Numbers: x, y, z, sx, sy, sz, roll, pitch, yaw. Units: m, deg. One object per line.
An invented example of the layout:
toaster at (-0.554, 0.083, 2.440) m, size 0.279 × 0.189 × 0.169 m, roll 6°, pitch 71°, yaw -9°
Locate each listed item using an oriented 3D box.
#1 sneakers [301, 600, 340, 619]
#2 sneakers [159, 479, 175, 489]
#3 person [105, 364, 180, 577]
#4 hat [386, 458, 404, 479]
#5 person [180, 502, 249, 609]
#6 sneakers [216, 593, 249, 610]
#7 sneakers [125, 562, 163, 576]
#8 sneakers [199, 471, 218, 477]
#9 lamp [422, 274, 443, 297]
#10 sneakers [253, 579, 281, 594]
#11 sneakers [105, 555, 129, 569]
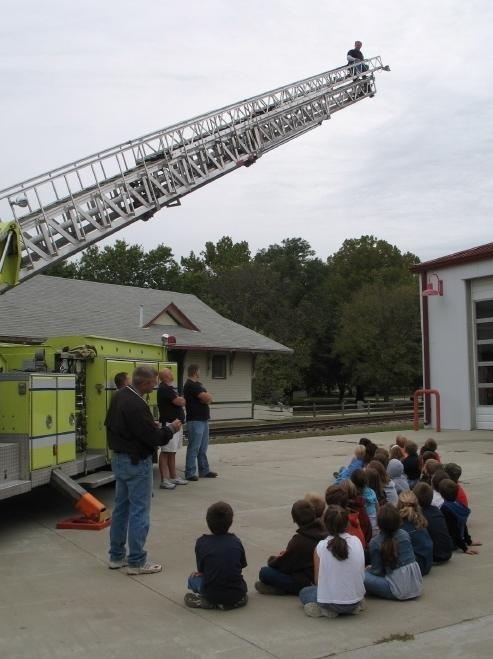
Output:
sneakers at (0.470, 1.755, 3.956) m, size 0.099 × 0.053 × 0.146 m, roll 7°, pitch -8°, yaw -40°
sneakers at (-1.125, 2.202, 8.878) m, size 0.089 × 0.086 × 0.217 m, roll 4°, pitch -9°, yaw -38°
person at (-0.855, 1.123, 5.128) m, size 0.551 × 1.646 × 0.610 m, roll -1°, pitch -3°, yaw -12°
hat at (1.537, 1.422, 6.426) m, size 0.172 × 0.188 × 0.233 m, roll 7°, pitch -12°, yaw 24°
person at (-0.219, 1.480, 4.135) m, size 0.420 × 0.707 × 0.290 m, roll -2°, pitch -3°, yaw 5°
sneakers at (-0.083, 1.788, 4.105) m, size 0.109 × 0.047 × 0.143 m, roll -4°, pitch -6°, yaw 44°
sneakers at (-0.804, 1.875, 4.929) m, size 0.285 × 0.114 × 0.095 m, roll -2°, pitch -5°, yaw -7°
sneakers at (-0.599, 2.273, 9.876) m, size 0.296 × 0.119 × 0.098 m, roll -2°, pitch -3°, yaw 0°
lamp at (5.982, -1.460, 20.475) m, size 0.554 × 0.768 × 0.841 m, roll -1°, pitch -3°, yaw -14°
sneakers at (0.141, 1.839, 4.495) m, size 0.185 × 0.119 × 0.064 m, roll -5°, pitch -9°, yaw 26°
sneakers at (-1.053, 1.902, 5.127) m, size 0.070 × 0.080 × 0.190 m, roll -1°, pitch -2°, yaw 27°
